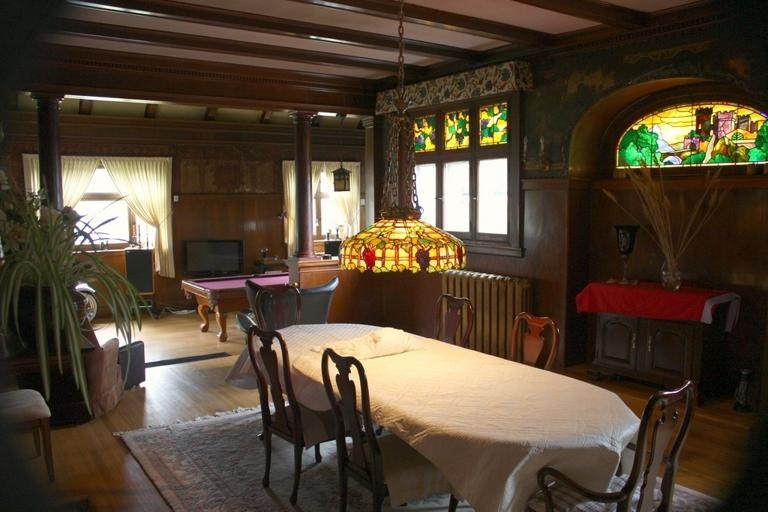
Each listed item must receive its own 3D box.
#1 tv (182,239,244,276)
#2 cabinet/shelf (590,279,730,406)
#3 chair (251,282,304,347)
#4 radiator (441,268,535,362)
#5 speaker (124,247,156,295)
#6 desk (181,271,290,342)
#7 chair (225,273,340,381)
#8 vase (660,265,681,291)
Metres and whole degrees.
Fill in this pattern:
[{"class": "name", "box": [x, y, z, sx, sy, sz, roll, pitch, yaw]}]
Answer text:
[{"class": "tv", "box": [-2.936, 0.082, 9.695, 0.992, 0.735, 0.282, 0, -22, -19]}, {"class": "cabinet/shelf", "box": [2.597, 0.778, 5.507, 0.598, 1.025, 1.308, -5, 7, -38]}, {"class": "chair", "box": [-0.901, 0.650, 4.939, 0.438, 0.705, 0.527, -4, 4, -2]}, {"class": "radiator", "box": [1.095, 0.604, 5.743, 0.170, 1.036, 0.966, 1, 1, -43]}, {"class": "speaker", "box": [-4.054, 0.189, 9.343, 0.477, 0.838, 0.478, -8, 28, -33]}, {"class": "desk", "box": [-1.870, 0.690, 8.114, 1.756, 0.718, 1.120, -5, 8, -40]}, {"class": "chair", "box": [-0.906, 0.597, 5.726, 0.986, 1.074, 0.913, -5, 16, -33]}, {"class": "vase", "box": [2.660, 0.200, 5.246, 0.161, 0.217, 0.159, 5, 13, 27]}]
